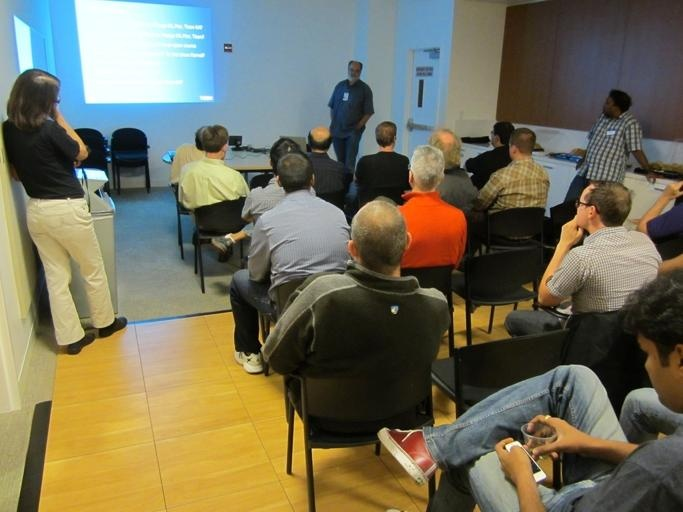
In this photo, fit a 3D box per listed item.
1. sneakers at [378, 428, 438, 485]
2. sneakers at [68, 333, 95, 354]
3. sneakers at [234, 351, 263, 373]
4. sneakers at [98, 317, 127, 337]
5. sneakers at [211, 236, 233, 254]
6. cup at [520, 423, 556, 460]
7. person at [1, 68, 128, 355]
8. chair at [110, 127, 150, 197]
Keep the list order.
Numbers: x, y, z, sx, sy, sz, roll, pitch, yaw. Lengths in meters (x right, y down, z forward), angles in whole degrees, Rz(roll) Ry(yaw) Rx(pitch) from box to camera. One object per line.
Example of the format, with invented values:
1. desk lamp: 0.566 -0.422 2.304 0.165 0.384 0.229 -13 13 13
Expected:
1. sneakers: 0.287 0.821 2.327 0.127 0.169 0.299 39 3 -33
2. sneakers: -1.825 0.610 3.796 0.060 0.090 0.194 2 20 20
3. sneakers: -0.633 0.687 3.653 0.090 0.118 0.251 -11 29 -35
4. sneakers: -1.693 0.538 4.024 0.075 0.107 0.230 6 17 23
5. sneakers: -0.985 -0.097 4.416 0.126 0.132 0.298 31 -1 -16
6. cup: 0.773 0.700 2.103 0.123 0.107 0.125 0 4 0
7. person: -1.868 -0.279 3.632 0.630 1.860 0.469 -6 20 -26
8. chair: -3.106 -1.411 7.883 0.489 0.854 0.534 -5 3 -29
